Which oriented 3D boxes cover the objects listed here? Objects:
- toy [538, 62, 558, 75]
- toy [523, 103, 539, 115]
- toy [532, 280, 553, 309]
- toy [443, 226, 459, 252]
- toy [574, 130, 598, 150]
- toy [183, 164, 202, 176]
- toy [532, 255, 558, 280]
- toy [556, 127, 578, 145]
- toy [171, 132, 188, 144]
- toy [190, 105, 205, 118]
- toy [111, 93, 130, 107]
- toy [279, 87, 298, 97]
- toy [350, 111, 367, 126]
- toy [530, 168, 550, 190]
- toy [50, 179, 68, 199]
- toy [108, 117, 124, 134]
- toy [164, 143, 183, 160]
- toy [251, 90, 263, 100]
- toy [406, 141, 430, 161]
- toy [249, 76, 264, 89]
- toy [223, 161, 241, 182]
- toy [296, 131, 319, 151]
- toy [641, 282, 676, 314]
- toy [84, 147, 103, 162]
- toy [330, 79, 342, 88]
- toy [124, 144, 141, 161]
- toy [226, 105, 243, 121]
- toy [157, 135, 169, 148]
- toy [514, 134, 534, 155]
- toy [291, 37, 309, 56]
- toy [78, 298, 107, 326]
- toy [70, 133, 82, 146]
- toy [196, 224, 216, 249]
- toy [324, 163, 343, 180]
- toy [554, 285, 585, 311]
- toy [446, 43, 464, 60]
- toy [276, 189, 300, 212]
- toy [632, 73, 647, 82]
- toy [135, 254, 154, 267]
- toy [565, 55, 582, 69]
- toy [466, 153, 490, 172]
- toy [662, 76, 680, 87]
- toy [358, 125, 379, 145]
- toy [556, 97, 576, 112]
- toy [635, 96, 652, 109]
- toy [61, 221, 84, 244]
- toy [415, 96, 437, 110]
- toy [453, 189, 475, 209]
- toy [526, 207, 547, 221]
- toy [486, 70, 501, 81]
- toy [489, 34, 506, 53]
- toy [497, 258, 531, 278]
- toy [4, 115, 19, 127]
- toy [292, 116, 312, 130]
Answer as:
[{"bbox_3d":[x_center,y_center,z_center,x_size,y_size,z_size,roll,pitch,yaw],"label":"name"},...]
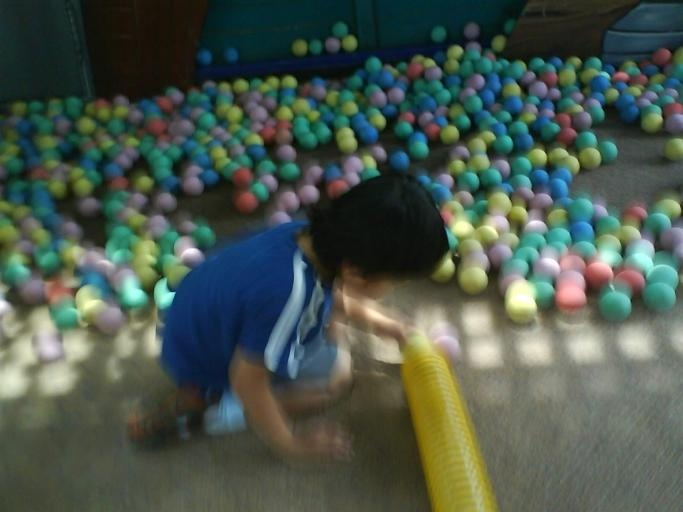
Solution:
[{"bbox_3d":[1.069,-0.983,2.857,0.063,0.083,0.068,8,43,8],"label":"toy"},{"bbox_3d":[0.918,-0.717,2.680,0.054,0.070,0.059,7,58,15],"label":"toy"},{"bbox_3d":[0.712,0.136,1.993,0.077,0.101,0.082,-1,11,9],"label":"toy"},{"bbox_3d":[0.359,-0.054,1.804,0.031,0.099,0.070,-15,14,23],"label":"toy"},{"bbox_3d":[1.108,-0.520,2.491,0.079,0.102,0.090,10,57,10],"label":"toy"},{"bbox_3d":[-0.679,-0.389,2.506,0.066,0.056,0.052,0,7,6],"label":"toy"},{"bbox_3d":[0.746,0.043,2.000,0.092,0.042,0.096,25,45,18],"label":"toy"},{"bbox_3d":[1.041,-0.554,2.548,0.074,0.081,0.090,-28,27,-18],"label":"toy"},{"bbox_3d":[-0.790,-0.571,2.677,0.059,0.037,0.063,10,34,17],"label":"toy"},{"bbox_3d":[-0.736,-0.731,2.803,0.059,0.022,0.063,-37,37,-19],"label":"toy"},{"bbox_3d":[-1.157,-0.815,2.867,0.064,0.049,0.079,-9,34,-34],"label":"toy"},{"bbox_3d":[-0.284,-0.870,2.923,0.072,0.060,0.060,1,28,14],"label":"toy"},{"bbox_3d":[0.083,-0.663,2.695,0.080,0.077,0.071,21,10,5],"label":"toy"},{"bbox_3d":[0.841,-0.325,2.339,0.076,0.100,0.081,0,19,9],"label":"toy"},{"bbox_3d":[-1.261,-0.297,2.452,0.053,0.067,0.056,26,62,15],"label":"toy"},{"bbox_3d":[-1.120,-0.649,2.746,0.072,0.042,0.085,0,64,-16],"label":"toy"},{"bbox_3d":[-0.791,-0.487,2.589,0.068,0.041,0.074,7,48,-1],"label":"toy"},{"bbox_3d":[-0.450,-0.852,2.901,0.053,0.032,0.055,27,44,21],"label":"toy"},{"bbox_3d":[0.364,-0.499,2.581,0.100,0.070,0.089,11,42,4],"label":"toy"},{"bbox_3d":[-0.468,-0.941,3.003,0.071,0.042,0.059,-36,38,-28],"label":"toy"},{"bbox_3d":[-0.505,-0.390,2.495,0.071,0.078,0.091,0,44,-1],"label":"toy"},{"bbox_3d":[-0.163,-0.553,2.646,0.076,0.091,0.086,-10,-5,13],"label":"toy"},{"bbox_3d":[1.084,0.141,1.904,0.098,0.067,0.096,-48,57,-4],"label":"toy"},{"bbox_3d":[-1.166,-0.480,2.599,0.062,0.068,0.070,-12,73,13],"label":"toy"},{"bbox_3d":[-0.030,-0.955,3.046,0.072,0.038,0.077,-4,35,-5],"label":"toy"},{"bbox_3d":[-0.993,-0.487,2.641,0.051,0.071,0.055,-4,32,48],"label":"toy"},{"bbox_3d":[-0.544,-0.718,2.796,0.069,0.087,0.077,5,61,4],"label":"toy"},{"bbox_3d":[-0.861,-0.550,2.653,0.060,0.036,0.066,-11,65,-6],"label":"toy"},{"bbox_3d":[0.830,-0.516,2.525,0.079,0.102,0.087,1,42,8],"label":"toy"},{"bbox_3d":[-0.228,-1.148,3.030,0.083,0.109,0.086,2,15,0],"label":"toy"},{"bbox_3d":[-0.882,0.191,1.953,0.096,0.093,0.084,-9,22,-24],"label":"toy"},{"bbox_3d":[-1.311,-0.574,2.716,0.053,0.029,0.055,-31,73,-29],"label":"toy"},{"bbox_3d":[-0.549,-0.075,2.215,0.072,0.096,0.077,-1,25,11],"label":"toy"},{"bbox_3d":[-0.042,-0.385,2.498,0.064,0.053,0.089,12,11,0],"label":"toy"},{"bbox_3d":[0.803,0.153,1.958,0.096,0.088,0.087,-12,36,44],"label":"toy"},{"bbox_3d":[0.616,-1.098,2.972,0.091,0.058,0.109,5,42,-3],"label":"toy"},{"bbox_3d":[-0.225,-0.230,2.403,0.083,0.099,0.090,-3,35,24],"label":"toy"},{"bbox_3d":[1.532,-0.917,2.829,0.063,0.052,0.048,8,20,35],"label":"toy"},{"bbox_3d":[-0.744,0.017,2.086,0.055,0.052,0.049,-2,2,0],"label":"toy"},{"bbox_3d":[1.222,-1.021,2.910,0.068,0.085,0.075,-4,55,18],"label":"toy"},{"bbox_3d":[0.599,-0.408,2.423,0.076,0.094,0.081,14,71,24],"label":"toy"},{"bbox_3d":[1.635,-0.858,2.732,0.044,0.066,0.065,-18,5,-37],"label":"toy"},{"bbox_3d":[0.131,-0.572,2.664,0.088,0.046,0.090,-42,79,9],"label":"toy"},{"bbox_3d":[1.101,-0.741,2.698,0.060,0.074,0.063,24,67,33],"label":"toy"},{"bbox_3d":[1.447,-0.738,2.644,0.050,0.060,0.071,-8,13,8],"label":"toy"},{"bbox_3d":[-1.108,-0.102,2.271,0.075,0.043,0.078,32,54,-5],"label":"toy"},{"bbox_3d":[0.426,-0.767,2.772,0.112,0.055,0.082,16,43,10],"label":"toy"},{"bbox_3d":[0.520,-0.235,2.339,0.072,0.087,0.072,-22,31,30],"label":"toy"},{"bbox_3d":[0.790,-0.175,2.267,0.072,0.067,0.062,13,6,-26],"label":"toy"},{"bbox_3d":[0.771,-0.911,2.794,0.060,0.059,0.053,-12,22,-6],"label":"toy"},{"bbox_3d":[0.852,-1.150,2.994,0.081,0.081,0.131,15,43,10],"label":"toy"},{"bbox_3d":[0.632,0.039,2.012,0.053,0.075,0.080,-3,56,43],"label":"toy"},{"bbox_3d":[-1.656,-0.680,2.774,0.070,0.021,0.074,-8,45,-16],"label":"toy"},{"bbox_3d":[-0.202,-0.664,2.732,0.070,0.040,0.072,29,45,30],"label":"toy"}]
